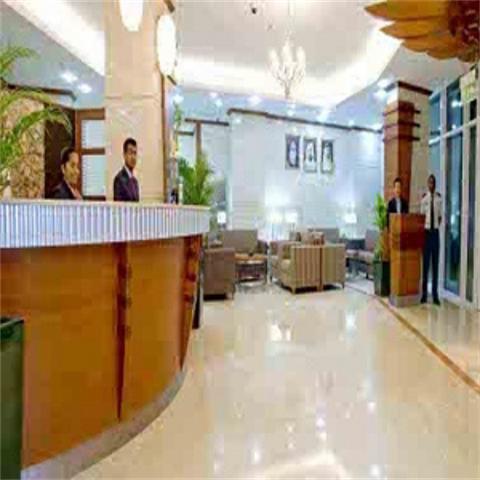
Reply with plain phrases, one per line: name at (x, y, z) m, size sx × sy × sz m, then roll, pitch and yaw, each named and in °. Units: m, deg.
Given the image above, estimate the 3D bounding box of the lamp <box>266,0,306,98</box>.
lamp at (0.331, -1.285, 3.045) m, size 0.252 × 0.605 × 0.336 m, roll 9°, pitch 16°, yaw 36°
